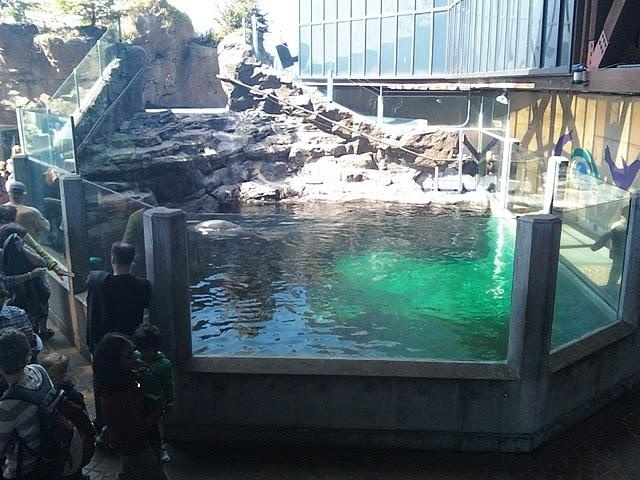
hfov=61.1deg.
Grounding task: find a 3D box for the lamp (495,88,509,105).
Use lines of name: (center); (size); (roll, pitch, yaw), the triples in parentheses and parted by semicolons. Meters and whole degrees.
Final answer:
lamp: (6.060, -4.678, 17.897); (0.297, 0.452, 1.531); (1, 12, 13)
